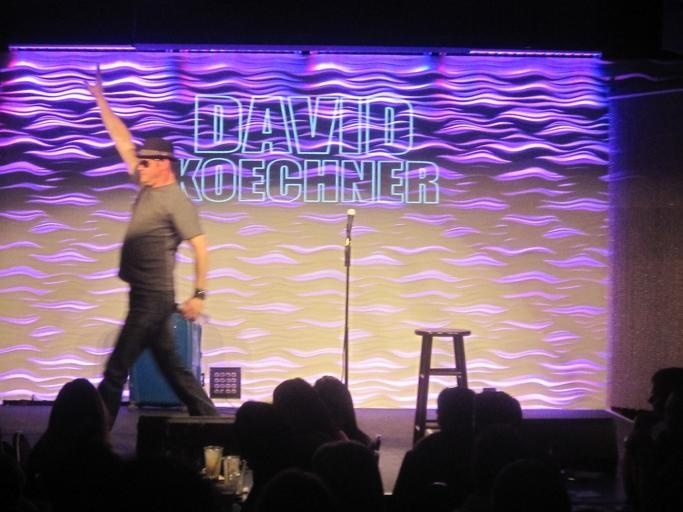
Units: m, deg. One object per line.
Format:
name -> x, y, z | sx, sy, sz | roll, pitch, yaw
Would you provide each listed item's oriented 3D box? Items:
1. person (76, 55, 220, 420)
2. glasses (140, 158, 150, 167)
person -> -1.761, 0.154, 13.071 | 1.270, 2.555, 0.970 | 2, 10, -8
glasses -> -1.854, -0.883, 13.262 | 0.116, 0.066, 0.089 | 3, -5, -4
